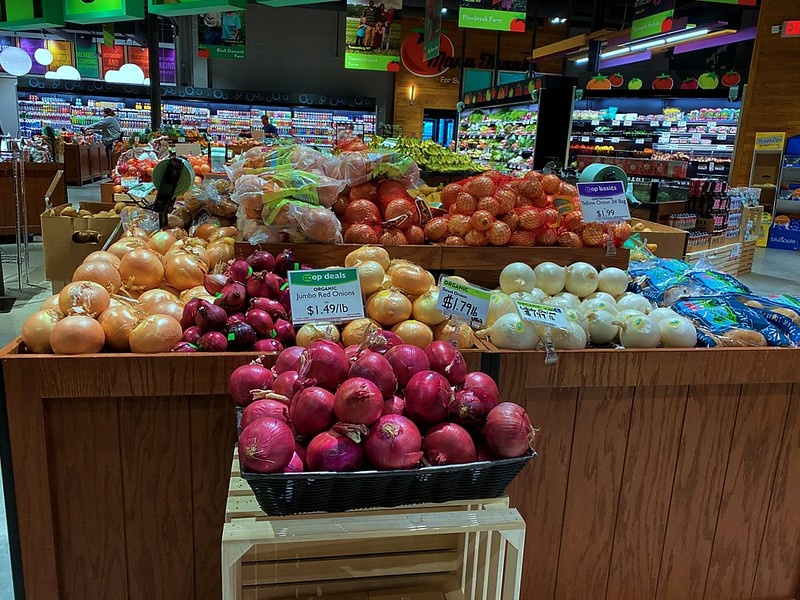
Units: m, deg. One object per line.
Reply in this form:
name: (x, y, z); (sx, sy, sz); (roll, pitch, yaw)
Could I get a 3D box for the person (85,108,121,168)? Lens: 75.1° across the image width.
person: (-7.402, -4.008, 13.205); (0.881, 1.617, 0.570); (-5, -6, -24)

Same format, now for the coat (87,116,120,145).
coat: (-7.359, -4.303, 13.075); (0.584, 0.675, 0.523); (-5, 16, -20)

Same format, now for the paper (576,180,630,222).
paper: (0.982, -0.484, 2.543); (0.264, 0.212, 0.022); (-4, -4, -6)

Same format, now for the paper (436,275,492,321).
paper: (0.231, -0.007, 1.926); (0.191, 0.131, 0.026); (16, 1, -3)
